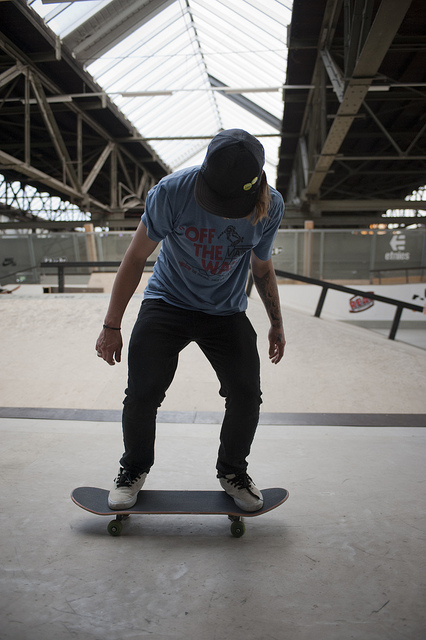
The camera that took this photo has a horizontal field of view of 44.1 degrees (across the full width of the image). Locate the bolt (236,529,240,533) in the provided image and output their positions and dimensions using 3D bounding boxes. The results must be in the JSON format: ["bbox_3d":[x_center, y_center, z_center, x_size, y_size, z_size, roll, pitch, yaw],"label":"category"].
[{"bbox_3d":[0.073,0.626,1.567,0.009,0.010,0.002,0,5,-12],"label":"bolt"}]

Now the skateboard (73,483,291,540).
[{"bbox_3d":[-0.106,0.558,1.627,0.777,0.130,0.223,2,8,-4],"label":"skateboard"}]

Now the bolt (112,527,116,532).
[{"bbox_3d":[-0.292,0.615,1.553,0.013,0.003,0.012,2,9,2],"label":"bolt"}]

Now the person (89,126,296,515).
[{"bbox_3d":[-0.031,-0.004,1.727,0.684,1.142,0.502,0,5,-12],"label":"person"}]

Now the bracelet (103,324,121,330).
[{"bbox_3d":[-0.328,0.023,1.704,0.049,0.017,0.020,0,5,-19],"label":"bracelet"}]
